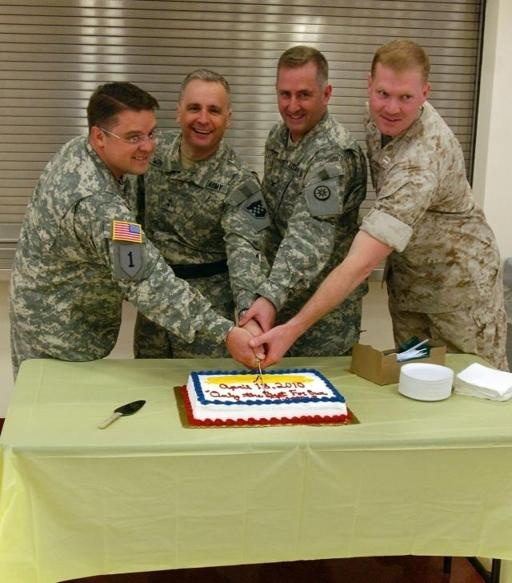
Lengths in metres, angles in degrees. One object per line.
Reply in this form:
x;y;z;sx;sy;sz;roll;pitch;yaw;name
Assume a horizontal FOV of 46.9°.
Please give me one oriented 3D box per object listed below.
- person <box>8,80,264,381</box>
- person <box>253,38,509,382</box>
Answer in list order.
-0.448;-0.159;1.901;0.795;1.010;0.363;12;16;34;person
0.544;-0.228;2.125;0.504;1.210;1.031;15;18;39;person
